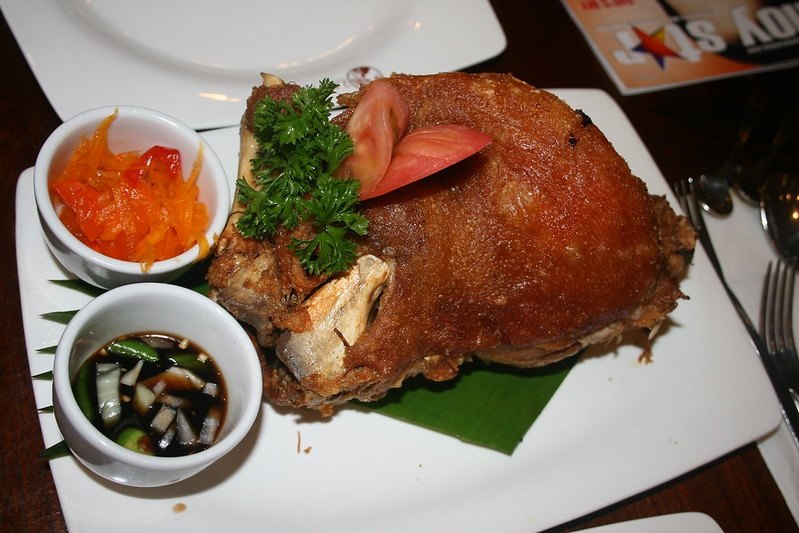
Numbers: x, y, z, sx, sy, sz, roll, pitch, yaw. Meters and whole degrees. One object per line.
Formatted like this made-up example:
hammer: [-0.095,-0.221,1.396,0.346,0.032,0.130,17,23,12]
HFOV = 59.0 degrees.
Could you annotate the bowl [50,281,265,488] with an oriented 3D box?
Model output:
bowl: [-0.936,0.470,2.769,0.766,0.368,0.693,8,61,-11]
